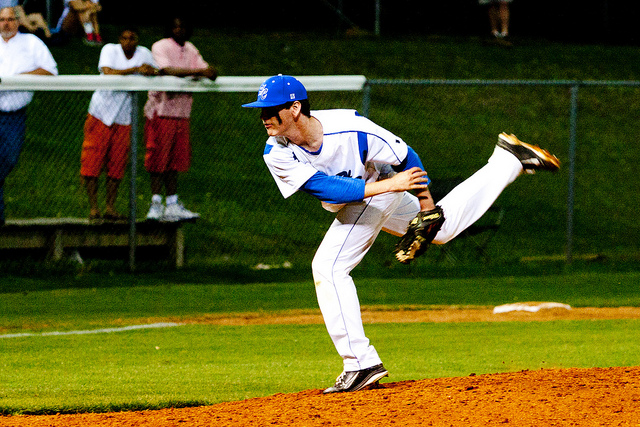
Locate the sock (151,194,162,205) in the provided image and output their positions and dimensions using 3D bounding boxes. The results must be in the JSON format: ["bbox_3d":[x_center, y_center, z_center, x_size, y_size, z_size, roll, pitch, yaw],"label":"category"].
[{"bbox_3d":[-2.436,-0.197,20.217,0.134,0.125,0.137,-2,3,-1],"label":"sock"}]

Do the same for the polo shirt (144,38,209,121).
[{"bbox_3d":[-2.171,-2.028,20.218,1.034,1.240,0.624,-2,8,-20],"label":"polo shirt"}]

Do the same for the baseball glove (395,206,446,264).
[{"bbox_3d":[1.264,0.264,17.074,0.500,0.796,0.379,35,-15,25],"label":"baseball glove"}]

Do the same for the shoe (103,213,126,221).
[{"bbox_3d":[-3.079,0.075,20.225,0.335,0.110,0.105,-1,7,-9],"label":"shoe"}]

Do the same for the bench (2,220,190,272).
[{"bbox_3d":[-3.376,0.506,20.281,2.783,0.805,0.399,-1,7,-8],"label":"bench"}]

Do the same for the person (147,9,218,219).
[{"bbox_3d":[-2.159,-1.414,20.247,0.860,3.063,0.673,0,7,-6],"label":"person"}]

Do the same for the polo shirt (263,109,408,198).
[{"bbox_3d":[0.230,-0.768,16.695,1.334,1.295,0.495,-29,42,14],"label":"polo shirt"}]
